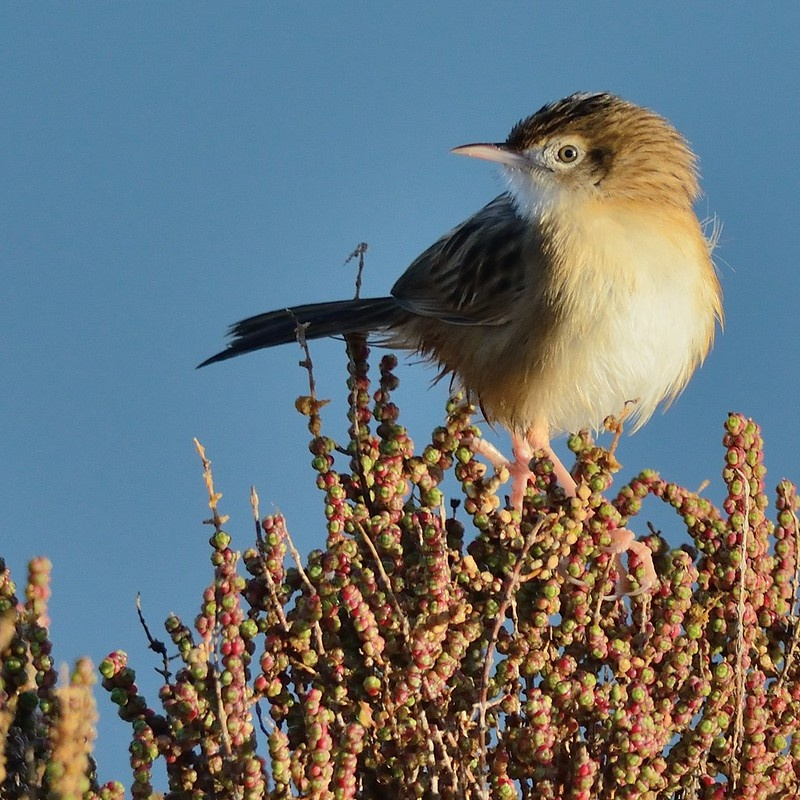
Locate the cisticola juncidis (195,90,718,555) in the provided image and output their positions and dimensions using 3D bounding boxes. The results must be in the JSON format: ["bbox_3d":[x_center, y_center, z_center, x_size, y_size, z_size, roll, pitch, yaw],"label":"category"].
[{"bbox_3d":[0.196,-0.312,5.351,1.200,1.027,0.681,5,5,43],"label":"cisticola juncidis"}]
